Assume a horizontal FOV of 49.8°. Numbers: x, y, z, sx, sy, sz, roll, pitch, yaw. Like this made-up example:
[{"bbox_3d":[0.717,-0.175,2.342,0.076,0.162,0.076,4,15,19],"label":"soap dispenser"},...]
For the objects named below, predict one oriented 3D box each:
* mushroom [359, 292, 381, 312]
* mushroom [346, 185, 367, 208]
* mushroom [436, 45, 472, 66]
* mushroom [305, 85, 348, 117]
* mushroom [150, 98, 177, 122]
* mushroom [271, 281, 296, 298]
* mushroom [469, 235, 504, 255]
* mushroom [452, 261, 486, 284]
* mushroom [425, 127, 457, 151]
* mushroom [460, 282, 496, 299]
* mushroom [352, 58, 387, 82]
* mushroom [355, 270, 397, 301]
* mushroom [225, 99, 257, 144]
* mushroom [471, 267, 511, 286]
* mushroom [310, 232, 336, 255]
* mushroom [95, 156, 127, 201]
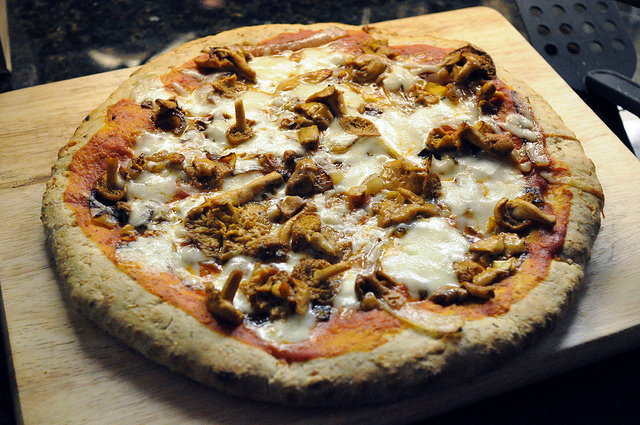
[{"bbox_3d":[0.353,0.639,4.932,0.142,0.053,0.124,17,79,-4],"label":"mushroom"},{"bbox_3d":[0.278,-0.130,5.302,0.171,0.050,0.146,-17,54,-12],"label":"mushroom"},{"bbox_3d":[1.181,-1.391,6.080,0.217,0.056,0.210,-9,28,44],"label":"mushroom"},{"bbox_3d":[0.066,-0.911,5.816,0.298,0.089,0.287,-36,76,-23],"label":"mushroom"},{"bbox_3d":[-1.306,-0.853,5.687,0.207,0.057,0.164,-28,81,1],"label":"mushroom"},{"bbox_3d":[-0.260,0.541,4.855,0.171,0.078,0.103,7,54,5],"label":"mushroom"},{"bbox_3d":[1.251,0.238,5.117,0.169,0.059,0.156,6,29,15],"label":"mushroom"},{"bbox_3d":[1.090,0.424,5.044,0.186,0.051,0.166,-3,45,-13],"label":"mushroom"},{"bbox_3d":[0.972,-0.576,5.586,0.182,0.093,0.231,24,15,-22],"label":"mushroom"},{"bbox_3d":[1.134,0.552,4.917,0.199,0.067,0.107,18,37,30],"label":"mushroom"},{"bbox_3d":[0.424,-1.262,6.041,0.244,0.088,0.178,-28,42,-18],"label":"mushroom"},{"bbox_3d":[0.380,0.510,4.926,0.236,0.085,0.227,-17,30,-33],"label":"mushroom"},{"bbox_3d":[-0.664,-0.800,5.619,0.251,0.249,0.236,-19,50,-17],"label":"mushroom"},{"bbox_3d":[1.234,0.460,5.013,0.237,0.064,0.116,-16,54,-9],"label":"mushroom"},{"bbox_3d":[0.007,0.227,5.078,0.215,0.083,0.111,33,73,6],"label":"mushroom"},{"bbox_3d":[-1.629,-0.253,5.335,0.236,0.287,0.211,-12,46,-36],"label":"mushroom"}]
